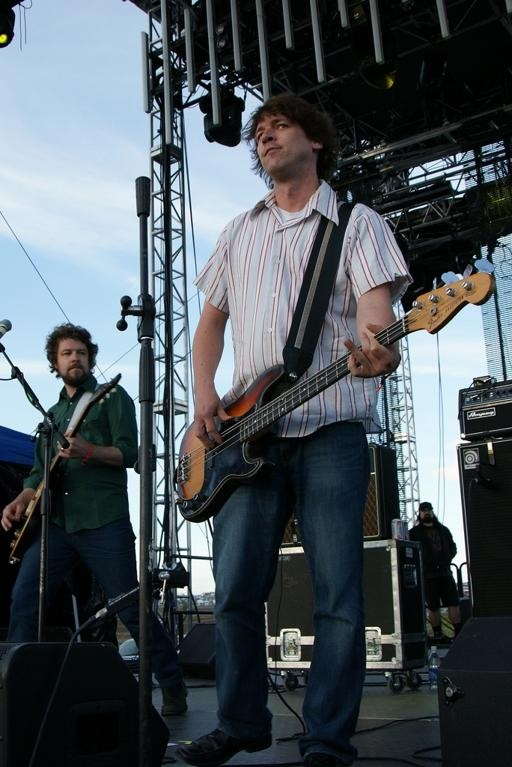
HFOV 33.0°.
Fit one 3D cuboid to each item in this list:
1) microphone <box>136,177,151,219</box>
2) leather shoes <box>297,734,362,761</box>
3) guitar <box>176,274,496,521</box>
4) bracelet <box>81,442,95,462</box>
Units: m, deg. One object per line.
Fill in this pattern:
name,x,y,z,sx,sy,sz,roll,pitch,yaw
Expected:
microphone,-0.349,-0.572,2.670,0.043,0.150,0.087,-3,-5,-8
leather shoes,0.169,0.854,2.072,0.136,0.068,0.102,-4,-5,3
guitar,0.101,0.041,2.321,0.163,0.390,1.138,32,-54,-30
bracelet,-0.693,0.277,3.591,0.016,0.064,0.063,12,-49,1
